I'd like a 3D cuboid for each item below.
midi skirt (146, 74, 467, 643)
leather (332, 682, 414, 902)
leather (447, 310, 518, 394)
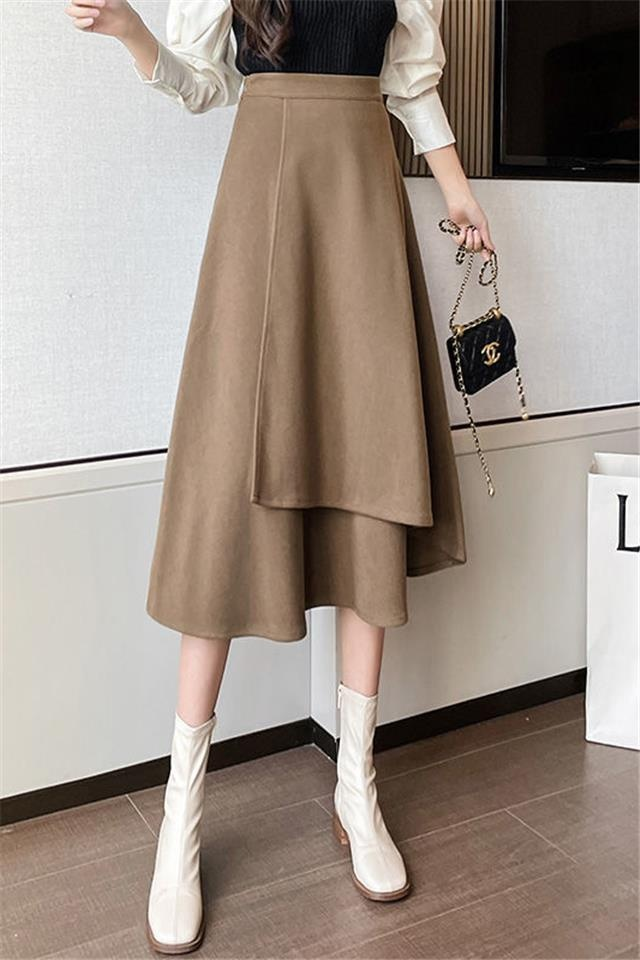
[{"bbox_3d":[-0.007,-0.157,1.043,0.443,0.697,0.185,-1,7,-10],"label":"midi skirt"},{"bbox_3d":[0.069,0.439,1.143,0.067,0.237,0.235,-1,7,-17],"label":"leather"},{"bbox_3d":[0.265,-0.217,1.333,0.118,0.121,0.043,-26,29,-21],"label":"leather"}]
